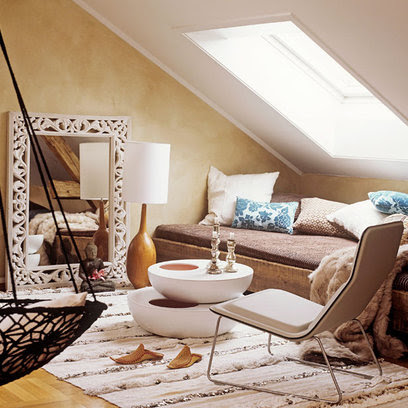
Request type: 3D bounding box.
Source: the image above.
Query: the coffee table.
[{"bbox_3d":[-0.128,0.652,2.710,0.967,0.423,1.005,1,-18,-10],"label":"coffee table"}]

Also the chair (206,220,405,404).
[{"bbox_3d":[0.410,0.399,2.015,0.942,0.804,0.702,3,3,30],"label":"chair"}]

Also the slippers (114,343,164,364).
[{"bbox_3d":[-0.324,0.747,2.006,0.240,0.075,0.080,0,-6,-7],"label":"slippers"}]
